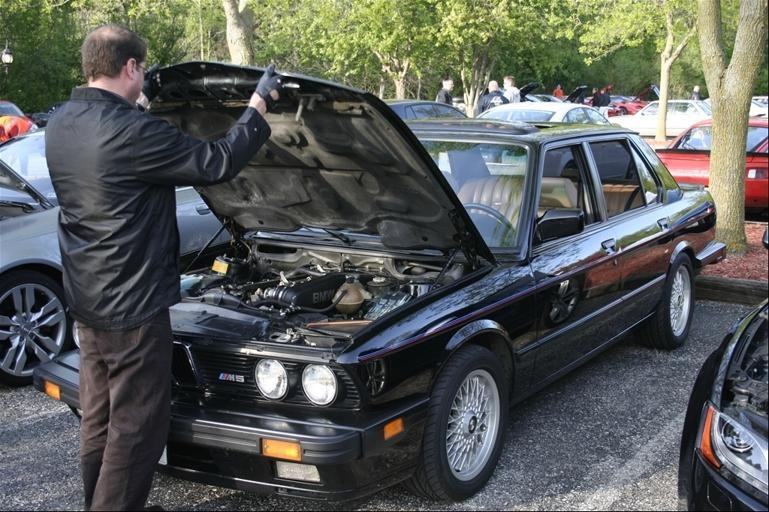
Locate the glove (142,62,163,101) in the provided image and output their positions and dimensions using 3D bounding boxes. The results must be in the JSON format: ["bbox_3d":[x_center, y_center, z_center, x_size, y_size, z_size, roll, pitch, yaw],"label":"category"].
[{"bbox_3d":[-1.496,-1.132,4.201,0.137,0.211,0.064,8,36,-13],"label":"glove"}]

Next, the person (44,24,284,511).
[{"bbox_3d":[-1.372,0.073,3.847,1.065,2.823,0.728,-8,15,-25],"label":"person"}]

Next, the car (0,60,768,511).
[{"bbox_3d":[0.540,0.021,5.453,4.833,1.978,2.549,-8,9,-43],"label":"car"}]
